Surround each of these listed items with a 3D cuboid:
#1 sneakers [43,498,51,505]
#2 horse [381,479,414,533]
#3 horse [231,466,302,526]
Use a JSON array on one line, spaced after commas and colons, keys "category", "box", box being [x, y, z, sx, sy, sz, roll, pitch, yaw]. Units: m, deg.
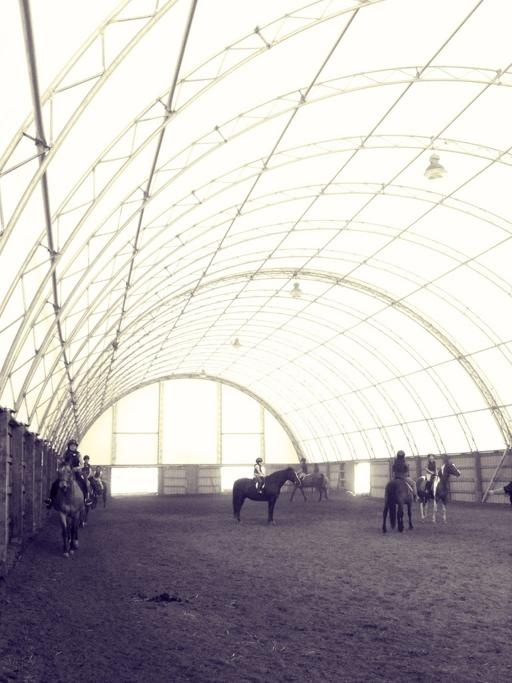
[{"category": "sneakers", "box": [-5.969, 4.590, 17.512, 0.177, 0.252, 0.219, 5, -18, -20]}, {"category": "horse", "box": [5.649, 6.148, 24.612, 0.754, 2.475, 3.304, 1, 3, 21]}, {"category": "horse", "box": [0.352, 7.307, 29.158, 3.139, 2.847, 1.047, 0, 2, 5]}]
